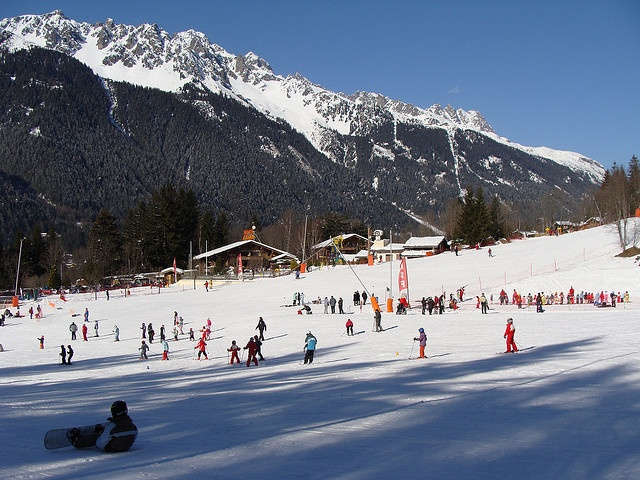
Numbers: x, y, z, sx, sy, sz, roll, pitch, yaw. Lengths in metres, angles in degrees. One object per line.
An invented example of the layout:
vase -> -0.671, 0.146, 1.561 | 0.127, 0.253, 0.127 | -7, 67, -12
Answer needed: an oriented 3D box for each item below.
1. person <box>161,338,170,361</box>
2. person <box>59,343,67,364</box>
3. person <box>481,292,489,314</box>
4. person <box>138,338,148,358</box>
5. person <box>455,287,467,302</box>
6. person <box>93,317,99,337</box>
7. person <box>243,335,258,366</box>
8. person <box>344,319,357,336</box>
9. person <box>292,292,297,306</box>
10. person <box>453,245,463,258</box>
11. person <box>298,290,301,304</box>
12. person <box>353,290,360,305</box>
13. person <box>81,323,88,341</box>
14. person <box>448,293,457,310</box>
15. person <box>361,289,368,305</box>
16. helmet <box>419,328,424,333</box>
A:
person -> -10.256, 7.153, 49.674 | 0.436, 1.299, 3.305 | -4, 6, -12
person -> -16.347, 7.219, 47.860 | 0.356, 1.252, 1.363 | -5, 6, -21
person -> 12.970, 4.957, 59.764 | 0.670, 1.603, 2.546 | -2, 7, 12
person -> -12.045, 7.311, 50.975 | 0.779, 1.712, 0.925 | 0, 4, -12
person -> 12.648, 4.910, 68.088 | 0.505, 1.665, 0.756 | -12, 15, -43
person -> -17.874, 7.018, 59.965 | 0.346, 1.249, 2.323 | -5, 6, -17
person -> -4.110, 6.587, 44.775 | 0.727, 1.614, 1.376 | -4, 6, -6
person -> 2.080, 6.171, 53.352 | 0.663, 1.893, 0.672 | -1, 42, 9
person -> -2.385, 5.356, 68.773 | 0.456, 1.127, 1.254 | -3, 6, -2
person -> 18.107, 1.489, 99.752 | 0.919, 1.192, 2.970 | 0, 12, 14
person -> -1.959, 5.312, 68.135 | 0.294, 1.017, 1.085 | -3, 6, -3
person -> 3.217, 5.201, 68.279 | 0.210, 1.687, 0.945 | -3, 6, -9
person -> -18.310, 7.110, 58.440 | 0.381, 1.307, 2.898 | -5, 6, -18
person -> 11.107, 5.144, 63.175 | 0.675, 1.111, 1.549 | -2, 6, 10
person -> 3.920, 5.194, 68.291 | 0.359, 1.251, 1.263 | -3, 6, -1
helmet -> 5.775, 5.131, 43.164 | 0.176, 0.275, 0.276 | -2, -13, 7
